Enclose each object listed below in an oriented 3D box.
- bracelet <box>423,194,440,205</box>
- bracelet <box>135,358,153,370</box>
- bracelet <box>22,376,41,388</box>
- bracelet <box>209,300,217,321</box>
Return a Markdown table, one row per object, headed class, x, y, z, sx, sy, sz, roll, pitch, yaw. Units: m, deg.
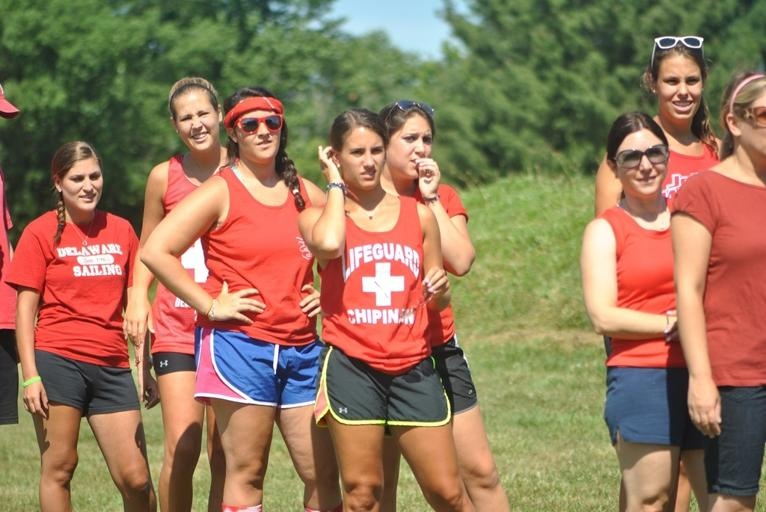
| class | x | y | z | sx | sy | sz | roll | pitch | yaw |
| --- | --- | --- | --- | --- | --- | --- | --- | --- | --- |
| bracelet | 0.421 | -0.486 | 10.758 | 0.084 | 0.095 | 0.106 | 9 | -33 | -27 |
| bracelet | -2.255 | 1.017 | 11.567 | 0.110 | 0.085 | 0.147 | -1 | 0 | 29 |
| bracelet | -3.206 | 1.152 | 11.145 | 0.114 | 0.035 | 0.118 | -27 | -8 | 22 |
| bracelet | -1.463 | 0.475 | 10.429 | 0.043 | 0.131 | 0.098 | 10 | 4 | -2 |
